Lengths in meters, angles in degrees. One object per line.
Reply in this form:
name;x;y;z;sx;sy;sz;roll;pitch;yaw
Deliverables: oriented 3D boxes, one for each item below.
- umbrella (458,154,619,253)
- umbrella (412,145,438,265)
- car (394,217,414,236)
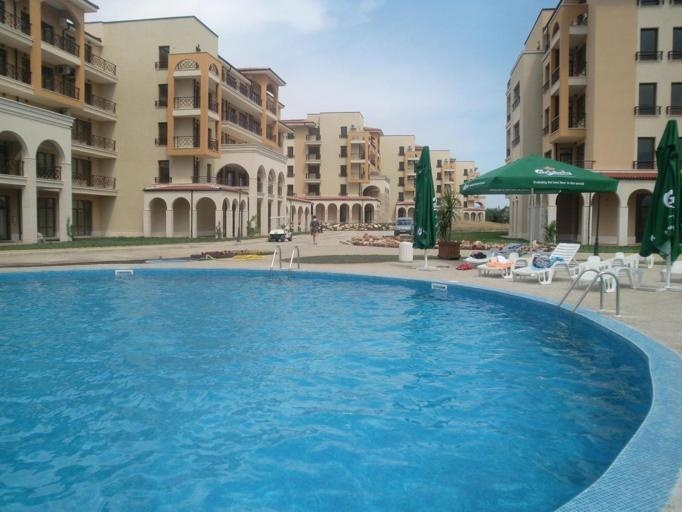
umbrella;5.766;-1.664;16.299;3.554;2.755;3.217;-2;10;-3
umbrella;2.748;-1.551;17.375;0.670;3.976;2.005;0;10;10
car;5.594;-2.610;47.290;1.288;1.086;2.299;0;2;10
